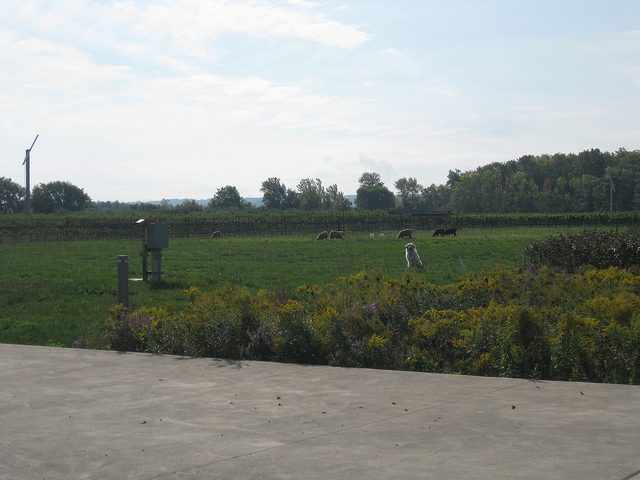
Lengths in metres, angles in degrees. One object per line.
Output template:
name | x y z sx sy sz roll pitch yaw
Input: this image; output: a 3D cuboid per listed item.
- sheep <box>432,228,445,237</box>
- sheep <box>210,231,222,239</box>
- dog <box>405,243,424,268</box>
sheep | 7.412 -0.468 76.797 0.660 0.536 1.808 -1 -1 5
sheep | -6.785 -0.364 79.568 1.126 0.604 0.370 4 6 32
dog | 3.449 0.667 45.088 0.394 0.571 1.191 -5 -16 9
